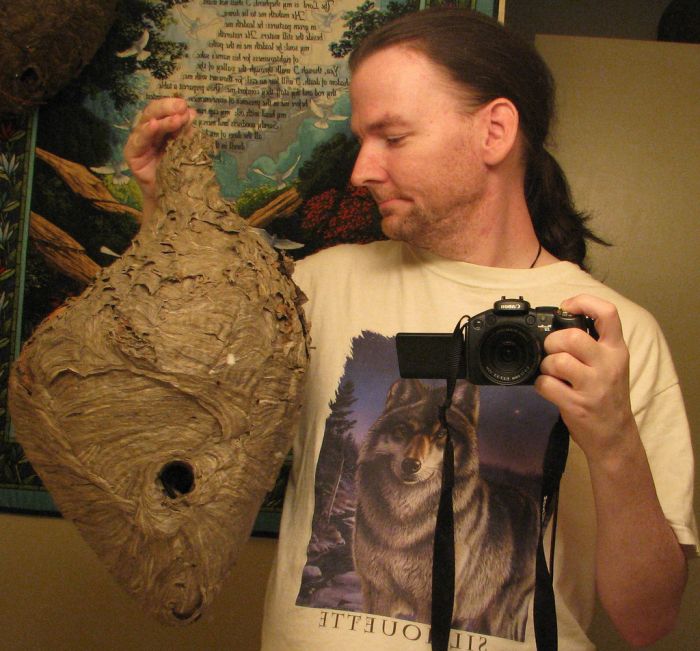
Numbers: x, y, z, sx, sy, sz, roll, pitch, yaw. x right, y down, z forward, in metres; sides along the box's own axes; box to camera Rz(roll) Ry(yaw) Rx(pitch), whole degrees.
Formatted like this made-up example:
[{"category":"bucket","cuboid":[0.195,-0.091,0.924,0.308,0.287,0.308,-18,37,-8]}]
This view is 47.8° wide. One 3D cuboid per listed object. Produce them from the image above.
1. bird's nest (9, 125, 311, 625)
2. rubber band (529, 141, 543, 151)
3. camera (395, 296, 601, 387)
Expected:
[{"category":"bird's nest","cuboid":[-0.349,0.091,1.559,0.532,0.890,0.346,-25,25,-38]},{"category":"rubber band","cuboid":[0.425,-0.410,1.825,0.029,0.006,0.025,0,-15,5]},{"category":"camera","cuboid":[0.299,0.043,1.583,0.376,0.205,0.141,-1,21,20]}]
